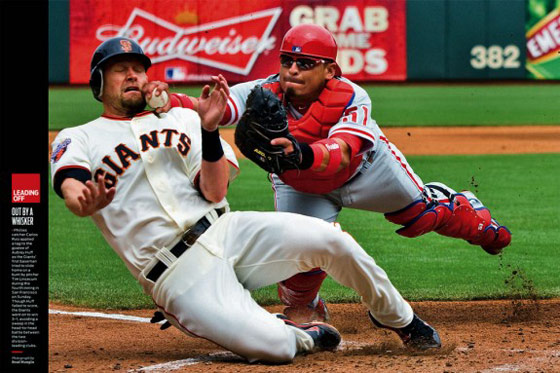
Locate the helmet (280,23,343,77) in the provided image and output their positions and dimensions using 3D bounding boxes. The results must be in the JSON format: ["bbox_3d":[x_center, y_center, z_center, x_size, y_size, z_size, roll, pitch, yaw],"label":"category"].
[{"bbox_3d":[0.334,-1.456,8.165,0.480,0.380,0.660,16,7,43],"label":"helmet"}]

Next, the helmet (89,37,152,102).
[{"bbox_3d":[-1.510,-1.164,7.552,0.487,0.465,0.612,-9,4,-30],"label":"helmet"}]

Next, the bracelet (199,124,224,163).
[{"bbox_3d":[-0.595,-0.380,7.244,0.233,0.334,0.253,0,-7,35],"label":"bracelet"}]

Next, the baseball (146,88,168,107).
[{"bbox_3d":[-1.149,-0.816,7.419,0.197,0.164,0.126,-6,-34,-14],"label":"baseball"}]
